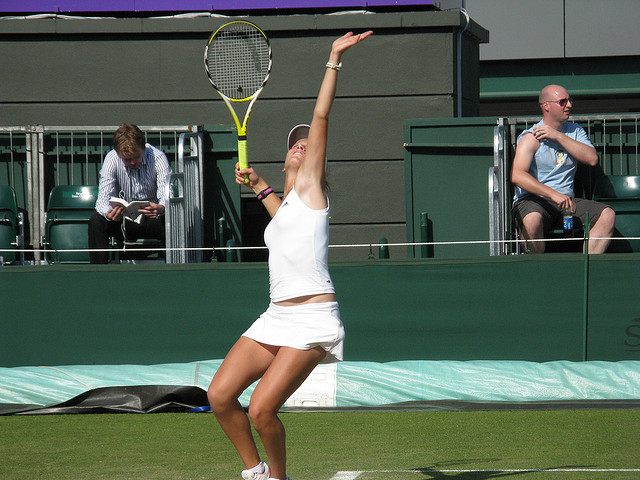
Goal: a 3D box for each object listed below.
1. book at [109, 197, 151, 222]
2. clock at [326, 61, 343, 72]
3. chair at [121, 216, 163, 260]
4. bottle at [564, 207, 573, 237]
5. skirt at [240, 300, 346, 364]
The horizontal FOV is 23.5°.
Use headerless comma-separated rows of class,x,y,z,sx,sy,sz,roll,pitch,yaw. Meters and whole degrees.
book,-2.347,-0.382,18.958,0.497,0.283,0.196,-1,1,-8
clock,0.122,-1.757,15.401,0.193,0.084,0.166,3,1,6
chair,-2.241,-0.026,19.478,0.540,0.230,0.529,1,-1,-1
bottle,3.018,-0.220,18.727,0.090,0.359,0.203,-1,1,7
skirt,-0.164,0.889,15.464,0.716,0.716,1.030,6,4,16
